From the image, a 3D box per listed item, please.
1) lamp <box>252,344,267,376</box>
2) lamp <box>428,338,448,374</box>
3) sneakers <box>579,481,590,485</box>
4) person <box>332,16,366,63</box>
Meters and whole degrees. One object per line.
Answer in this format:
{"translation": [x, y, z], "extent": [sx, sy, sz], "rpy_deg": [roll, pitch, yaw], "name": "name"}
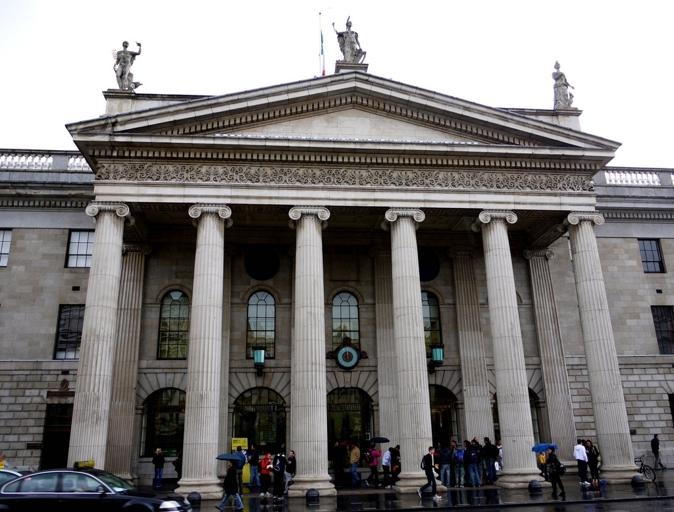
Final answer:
{"translation": [-3.912, 5.088, 31.863], "extent": [0.709, 1.488, 1.198], "rpy_deg": [1, -22, -7], "name": "lamp"}
{"translation": [5.297, 4.996, 32.550], "extent": [0.934, 1.528, 0.812], "rpy_deg": [-2, -7, 5], "name": "lamp"}
{"translation": [10.303, 9.338, 26.292], "extent": [0.572, 0.225, 0.180], "rpy_deg": [3, -20, -9], "name": "sneakers"}
{"translation": [0.633, -10.795, 32.851], "extent": [1.130, 2.017, 1.227], "rpy_deg": [-7, -23, 10], "name": "person"}
